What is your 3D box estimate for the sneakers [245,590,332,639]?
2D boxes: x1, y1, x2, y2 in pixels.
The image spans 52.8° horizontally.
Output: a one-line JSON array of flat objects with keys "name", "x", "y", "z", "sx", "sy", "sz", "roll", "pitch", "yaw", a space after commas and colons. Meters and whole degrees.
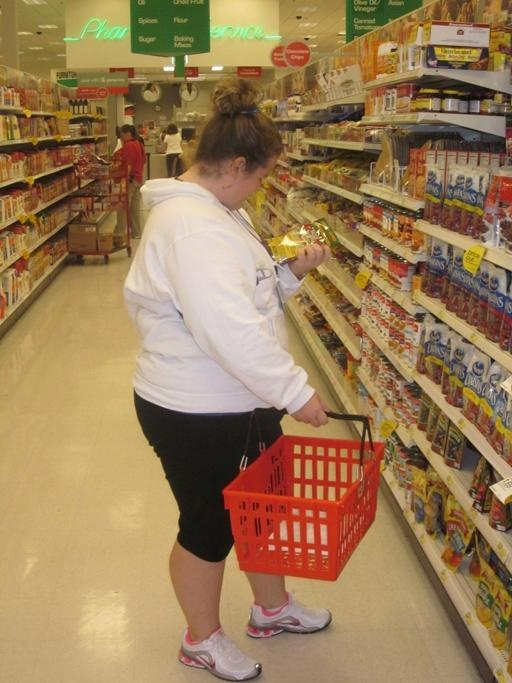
[{"name": "sneakers", "x": 0.103, "y": 0.879, "z": 1.694, "sx": 0.290, "sy": 0.145, "sz": 0.110, "roll": -2, "pitch": 3, "yaw": -12}]
